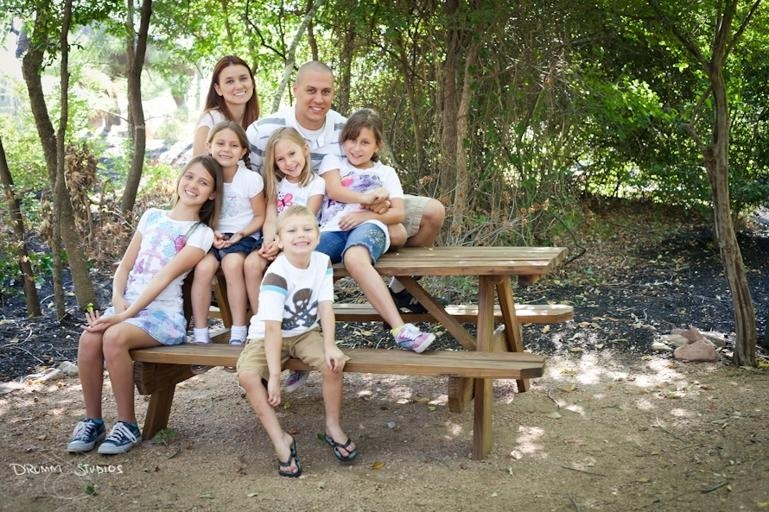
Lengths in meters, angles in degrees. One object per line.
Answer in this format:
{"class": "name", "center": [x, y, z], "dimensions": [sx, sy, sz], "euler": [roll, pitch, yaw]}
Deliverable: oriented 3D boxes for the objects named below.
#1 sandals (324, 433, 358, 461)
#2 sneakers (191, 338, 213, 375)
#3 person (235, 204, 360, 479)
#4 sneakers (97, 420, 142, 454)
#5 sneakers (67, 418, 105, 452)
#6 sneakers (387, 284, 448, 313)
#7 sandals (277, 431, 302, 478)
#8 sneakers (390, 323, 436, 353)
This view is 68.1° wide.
{"class": "sandals", "center": [-0.301, 1.337, 3.989], "dimensions": [0.132, 0.070, 0.237], "euler": [-29, 67, -39]}
{"class": "sneakers", "center": [-1.418, 0.822, 4.394], "dimensions": [0.138, 0.146, 0.394], "euler": [0, -5, -2]}
{"class": "person", "center": [-0.628, 0.564, 3.949], "dimensions": [0.795, 1.827, 0.442], "euler": [-2, 7, -4]}
{"class": "sneakers", "center": [-1.912, 1.304, 4.134], "dimensions": [0.195, 0.182, 0.456], "euler": [5, -2, 6]}
{"class": "sneakers", "center": [-2.179, 1.302, 4.148], "dimensions": [0.159, 0.156, 0.410], "euler": [1, 1, -1]}
{"class": "sneakers", "center": [0.304, 0.389, 5.045], "dimensions": [0.618, 0.222, 0.195], "euler": [0, 10, -1]}
{"class": "sandals", "center": [-0.650, 1.369, 3.887], "dimensions": [0.163, 0.246, 0.137], "euler": [-3, 7, -11]}
{"class": "sneakers", "center": [0.183, 0.562, 4.005], "dimensions": [0.317, 0.151, 0.145], "euler": [4, 45, 52]}
